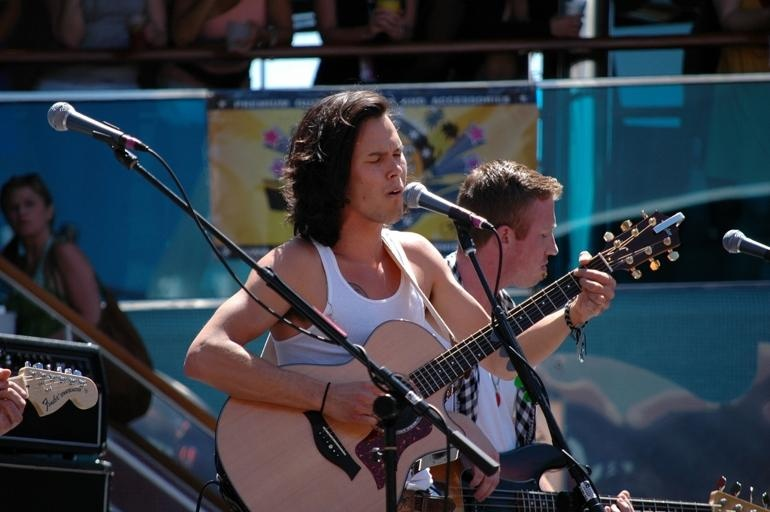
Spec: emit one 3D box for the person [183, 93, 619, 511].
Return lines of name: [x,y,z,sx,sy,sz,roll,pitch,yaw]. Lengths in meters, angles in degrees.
person: [-0.207,0.086,8.375,3.740,1.442,0.803,8,-5,-31]

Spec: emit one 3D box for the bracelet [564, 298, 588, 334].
bracelet: [1.104,0.347,8.087,0.135,0.192,0.057,-4,2,-13]

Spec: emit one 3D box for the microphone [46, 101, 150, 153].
microphone: [-1.828,-0.814,8.749,0.748,0.211,0.201,20,19,4]

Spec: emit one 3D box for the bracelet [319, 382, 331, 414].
bracelet: [-0.330,0.811,7.911,0.080,0.164,0.041,-8,13,-39]
